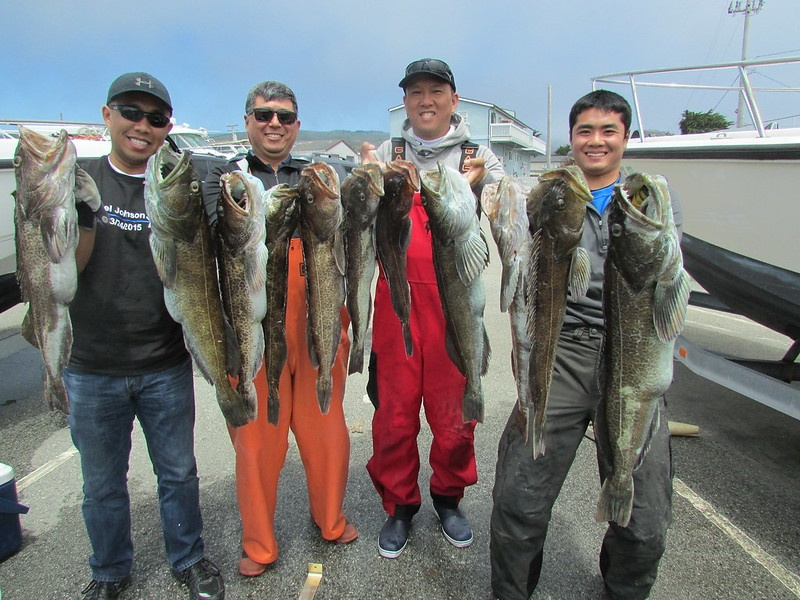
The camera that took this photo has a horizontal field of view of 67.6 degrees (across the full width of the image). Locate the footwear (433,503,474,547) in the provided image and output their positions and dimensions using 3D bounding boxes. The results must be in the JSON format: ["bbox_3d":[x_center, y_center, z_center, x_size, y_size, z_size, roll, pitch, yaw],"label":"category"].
[{"bbox_3d":[0.413,1.697,4.608,0.137,0.171,0.388,-15,18,-14],"label":"footwear"}]

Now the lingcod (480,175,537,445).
[{"bbox_3d":[0.713,0.106,3.716,0.253,1.722,0.568,-1,8,13],"label":"lingcod"}]

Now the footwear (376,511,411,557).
[{"bbox_3d":[-0.027,1.723,4.550,0.171,0.289,0.578,9,2,11],"label":"footwear"}]

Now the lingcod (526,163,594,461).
[{"bbox_3d":[0.971,0.051,3.702,0.562,1.717,0.373,7,16,30],"label":"lingcod"}]

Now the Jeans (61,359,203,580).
[{"bbox_3d":[-1.798,1.102,4.184,0.767,2.064,0.517,-3,27,-18],"label":"Jeans"}]

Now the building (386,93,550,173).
[{"bbox_3d":[8.398,-12.325,48.236,10.680,6.034,16.811,2,7,16],"label":"building"}]

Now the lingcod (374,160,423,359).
[{"bbox_3d":[0.052,-0.260,4.085,0.455,1.306,0.236,11,19,34],"label":"lingcod"}]

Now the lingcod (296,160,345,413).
[{"bbox_3d":[-0.495,-0.045,3.907,0.281,1.651,0.290,-3,12,-10],"label":"lingcod"}]

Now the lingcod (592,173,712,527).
[{"bbox_3d":[1.533,0.308,3.790,0.736,2.381,0.542,7,9,39],"label":"lingcod"}]

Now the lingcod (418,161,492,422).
[{"bbox_3d":[0.386,-0.172,3.827,0.368,1.836,0.588,1,12,15],"label":"lingcod"}]

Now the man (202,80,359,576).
[{"bbox_3d":[-0.561,0.095,4.346,0.933,3.251,0.920,-16,0,-30],"label":"man"}]
